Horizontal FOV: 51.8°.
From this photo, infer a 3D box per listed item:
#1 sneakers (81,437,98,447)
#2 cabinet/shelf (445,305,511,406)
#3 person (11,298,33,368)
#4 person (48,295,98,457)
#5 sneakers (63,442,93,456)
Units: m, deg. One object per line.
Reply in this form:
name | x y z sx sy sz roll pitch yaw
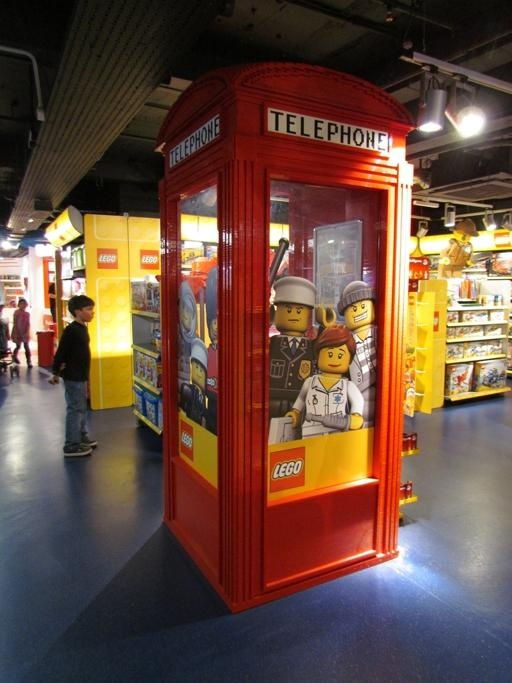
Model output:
sneakers | -1.664 1.005 5.273 0.168 0.081 0.064 4 -1 -15
cabinet/shelf | 3.087 0.195 7.412 1.074 1.272 0.454 -10 11 -28
person | -4.911 -0.186 10.974 0.362 1.435 1.406 -3 7 -25
person | -1.724 0.327 4.975 0.414 1.531 0.545 6 8 44
sneakers | -1.705 1.047 5.050 0.257 0.133 0.107 -2 4 -16
